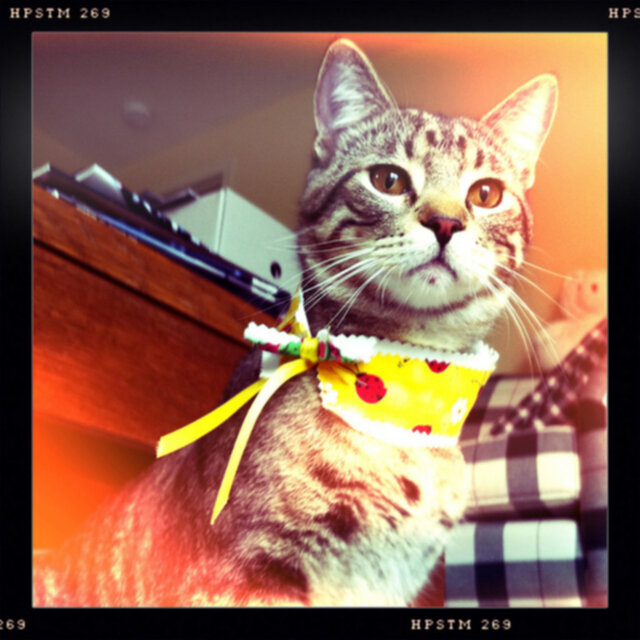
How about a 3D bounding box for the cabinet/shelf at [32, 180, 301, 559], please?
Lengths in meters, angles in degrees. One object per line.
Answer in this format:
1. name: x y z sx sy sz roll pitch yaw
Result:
1. cabinet/shelf: -0.296 0.128 0.966 0.247 0.351 0.490 -9 -19 27
